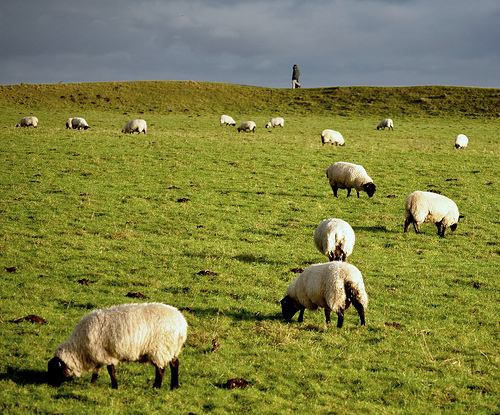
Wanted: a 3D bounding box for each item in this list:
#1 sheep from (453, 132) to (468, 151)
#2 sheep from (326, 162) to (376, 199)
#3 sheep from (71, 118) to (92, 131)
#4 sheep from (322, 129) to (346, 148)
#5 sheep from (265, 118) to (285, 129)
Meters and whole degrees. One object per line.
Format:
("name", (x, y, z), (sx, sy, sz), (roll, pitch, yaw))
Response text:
("sheep", (14.972, -4.582, 59.738), (1.164, 0.879, 1.853), (-4, 17, 17))
("sheep", (5.582, -1.490, 46.986), (2.916, 1.821, 0.986), (10, 15, 32))
("sheep", (-12.852, -6.352, 63.469), (1.333, 0.778, 0.726), (6, 14, 17))
("sheep", (5.959, -4.930, 59.483), (1.668, 1.064, 2.165), (3, 14, 5))
("sheep", (2.149, -7.190, 71.632), (1.602, 0.885, 2.640), (2, 14, 0))
